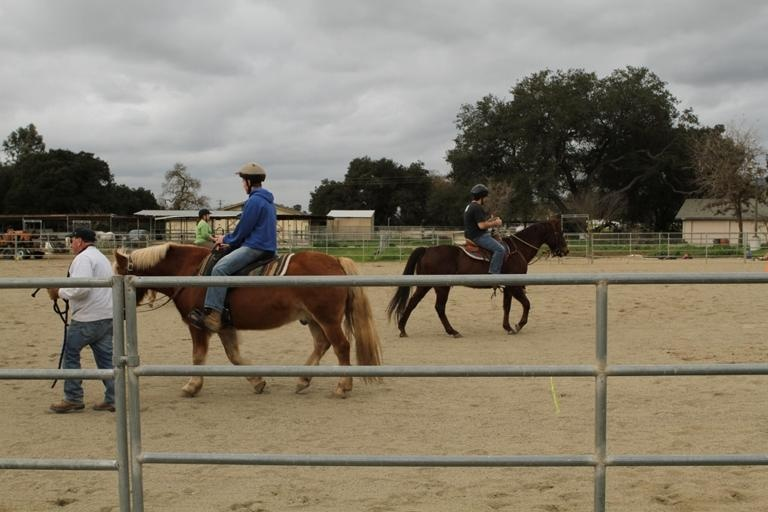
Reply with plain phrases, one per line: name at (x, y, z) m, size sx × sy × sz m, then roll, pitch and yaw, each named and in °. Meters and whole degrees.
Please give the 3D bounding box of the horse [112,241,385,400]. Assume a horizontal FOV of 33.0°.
horse at (-4.802, 2.124, 44.243) m, size 9.067 × 5.399 × 2.311 m, roll -1°, pitch -2°, yaw 0°

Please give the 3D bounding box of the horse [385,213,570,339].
horse at (3.310, 0.810, 47.723) m, size 6.532 × 4.078 × 2.233 m, roll -2°, pitch 2°, yaw -3°

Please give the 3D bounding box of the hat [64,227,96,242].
hat at (-10.136, -0.756, 43.378) m, size 0.891 × 0.341 × 0.617 m, roll 7°, pitch 3°, yaw 9°

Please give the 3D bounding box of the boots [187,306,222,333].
boots at (-5.929, 2.071, 43.098) m, size 1.103 × 0.734 × 0.598 m, roll 21°, pitch -18°, yaw 10°
